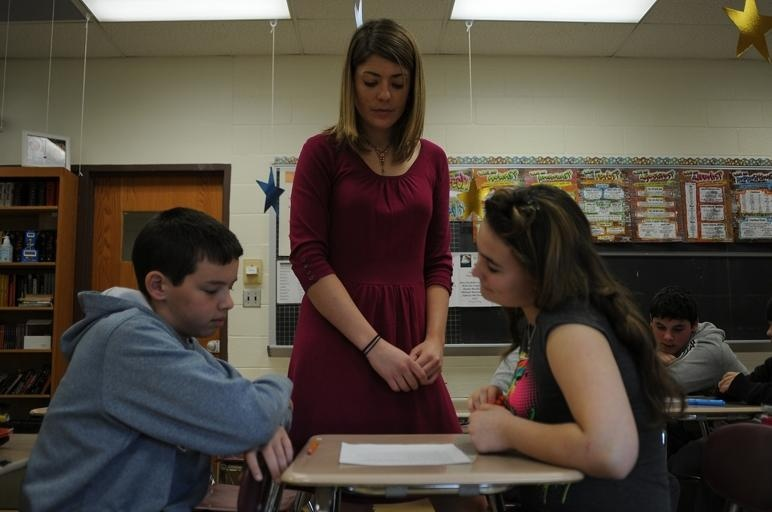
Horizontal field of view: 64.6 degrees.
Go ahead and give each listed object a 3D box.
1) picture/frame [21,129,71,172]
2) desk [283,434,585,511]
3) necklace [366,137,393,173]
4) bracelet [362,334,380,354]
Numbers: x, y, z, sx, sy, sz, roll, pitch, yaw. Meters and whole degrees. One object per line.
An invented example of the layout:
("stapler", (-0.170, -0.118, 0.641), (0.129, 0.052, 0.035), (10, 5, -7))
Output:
("picture/frame", (-2.517, -0.743, 4.594), (0.427, 0.366, 0.226), (1, -12, -31))
("desk", (0.138, 0.715, 1.972), (0.894, 0.234, 0.335), (-3, 0, -1))
("necklace", (-0.025, -0.375, 2.300), (0.141, 0.178, 0.024), (0, -14, -6))
("bracelet", (-0.049, 0.318, 2.189), (0.061, 0.016, 0.064), (-45, -7, 25))
